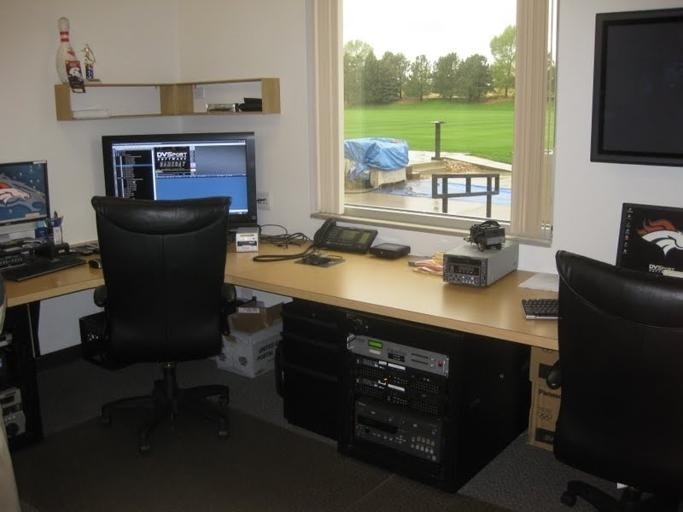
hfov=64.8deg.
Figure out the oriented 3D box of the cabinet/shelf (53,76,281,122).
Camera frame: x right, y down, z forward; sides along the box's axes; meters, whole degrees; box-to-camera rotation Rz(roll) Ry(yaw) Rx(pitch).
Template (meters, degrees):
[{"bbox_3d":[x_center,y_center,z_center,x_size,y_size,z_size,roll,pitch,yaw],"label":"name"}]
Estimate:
[{"bbox_3d":[-1.177,-1.105,3.807,1.476,0.241,0.600,-3,16,-5],"label":"cabinet/shelf"}]
